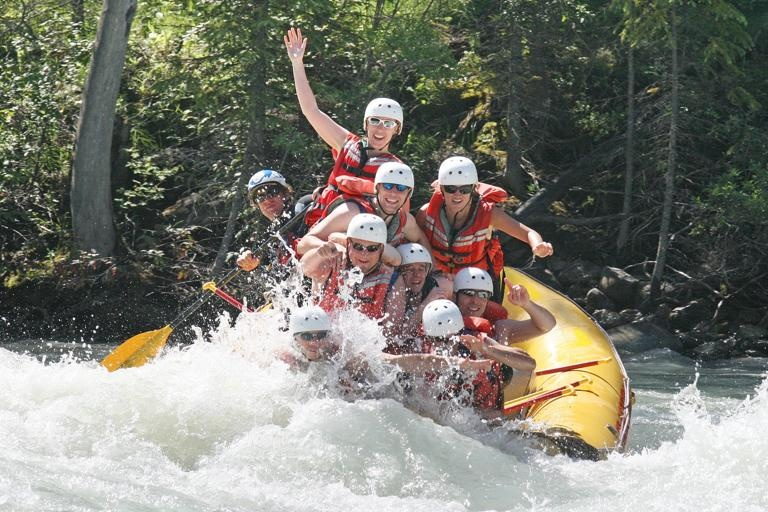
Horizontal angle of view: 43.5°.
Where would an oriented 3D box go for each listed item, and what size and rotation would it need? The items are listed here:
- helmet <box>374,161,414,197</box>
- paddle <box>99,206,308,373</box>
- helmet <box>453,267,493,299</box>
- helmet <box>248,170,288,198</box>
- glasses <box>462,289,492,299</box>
[{"bbox_3d":[0.159,-1.259,15.710,0.420,0.546,0.435,5,5,-3],"label":"helmet"},{"bbox_3d":[-3.764,0.737,19.907,5.011,0.725,0.256,-35,39,-1],"label":"paddle"},{"bbox_3d":[1.452,0.455,15.761,0.433,0.540,0.418,3,-4,4],"label":"helmet"},{"bbox_3d":[-2.147,-1.353,17.641,0.499,0.628,0.496,-11,-14,-4],"label":"helmet"},{"bbox_3d":[1.493,0.602,15.714,0.492,0.156,0.142,2,1,-19],"label":"glasses"}]
